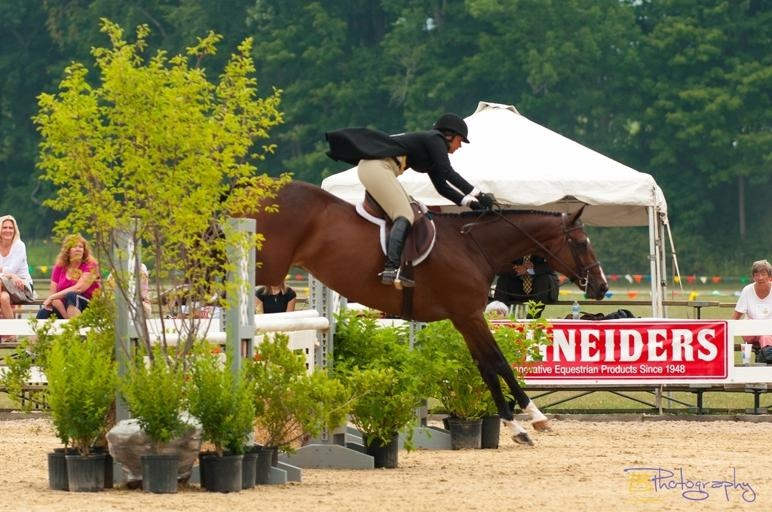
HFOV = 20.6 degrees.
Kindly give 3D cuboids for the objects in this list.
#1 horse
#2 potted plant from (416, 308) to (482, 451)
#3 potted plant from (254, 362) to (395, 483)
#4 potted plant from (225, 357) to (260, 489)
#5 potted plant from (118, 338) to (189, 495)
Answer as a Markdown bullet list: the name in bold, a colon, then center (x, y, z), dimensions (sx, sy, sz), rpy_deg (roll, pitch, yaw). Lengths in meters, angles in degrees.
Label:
- **horse**: center (-0.012, 1.396, 59.679), dimensions (12.217, 6.197, 2.466), rpy_deg (7, -5, 1)
- **potted plant**: center (2.463, 3.683, 60.149), dimensions (2.260, 3.628, 2.257), rpy_deg (3, -6, 8)
- **potted plant**: center (-1.747, 4.606, 58.546), dimensions (3.260, 1.966, 3.087), rpy_deg (0, 0, 8)
- **potted plant**: center (-3.944, 4.221, 57.429), dimensions (0.835, 1.956, 0.561), rpy_deg (4, 16, -20)
- **potted plant**: center (-6.183, 4.409, 57.312), dimensions (1.558, 3.706, 1.189), rpy_deg (-1, 11, -5)
